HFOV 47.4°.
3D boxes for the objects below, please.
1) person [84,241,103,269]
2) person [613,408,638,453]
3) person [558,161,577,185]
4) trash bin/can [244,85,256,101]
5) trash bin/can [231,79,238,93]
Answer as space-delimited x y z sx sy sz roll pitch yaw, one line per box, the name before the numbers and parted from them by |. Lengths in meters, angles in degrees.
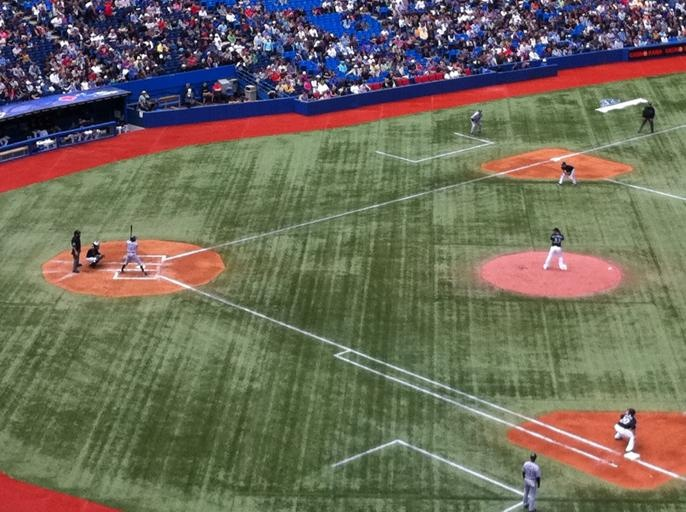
person | -10.541 0.017 32.985 0.629 0.981 0.739 16 31 4
person | 8.374 5.274 23.225 0.667 1.062 0.717 -34 56 -28
person | 11.428 -4.333 39.908 0.861 1.536 1.539 3 40 15
trash bin/can | -5.907 -10.382 49.848 0.770 0.808 1.247 -12 38 -3
trash bin/can | -7.066 -11.136 51.001 0.360 0.808 0.800 -9 39 3
